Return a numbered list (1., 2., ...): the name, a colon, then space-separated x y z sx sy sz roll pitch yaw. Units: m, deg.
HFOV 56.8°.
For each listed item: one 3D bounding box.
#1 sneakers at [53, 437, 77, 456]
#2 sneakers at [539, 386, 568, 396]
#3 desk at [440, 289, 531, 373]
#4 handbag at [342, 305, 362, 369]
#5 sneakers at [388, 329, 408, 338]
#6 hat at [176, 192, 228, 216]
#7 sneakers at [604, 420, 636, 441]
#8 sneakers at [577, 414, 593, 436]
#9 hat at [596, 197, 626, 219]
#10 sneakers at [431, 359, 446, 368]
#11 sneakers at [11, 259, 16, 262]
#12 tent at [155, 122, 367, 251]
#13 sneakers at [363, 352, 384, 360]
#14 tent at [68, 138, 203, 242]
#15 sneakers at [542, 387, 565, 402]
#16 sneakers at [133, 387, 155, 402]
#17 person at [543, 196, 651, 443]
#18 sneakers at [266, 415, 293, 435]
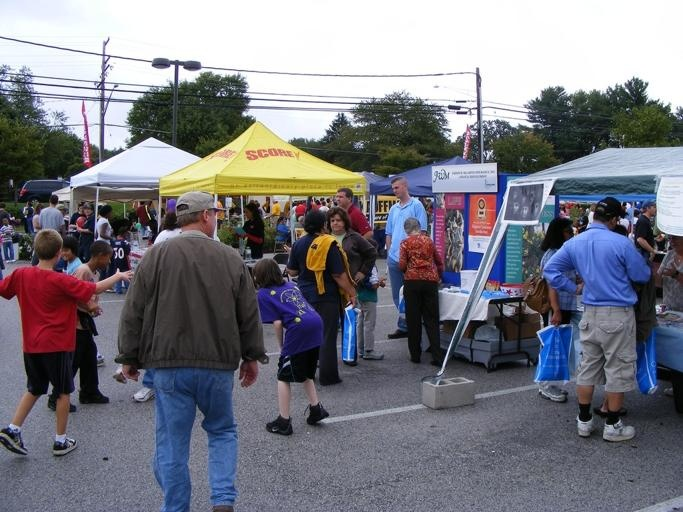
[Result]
1. sneakers: -2.508 1.742 5.830 0.093 0.127 0.246 3 6 21
2. sneakers: 2.331 1.492 7.026 0.301 0.154 0.141 -2 1 26
3. desk: 1.892 0.951 8.135 0.917 0.675 1.223 -5 8 -31
4. handbag: 0.120 1.029 7.950 0.315 0.952 0.441 -3 28 -4
5. sneakers: 0.850 1.196 9.666 0.324 0.150 0.112 2 -4 -22
6. hat: -1.068 -0.405 4.771 0.253 0.133 0.179 -7 9 -38
7. sneakers: 2.626 1.679 6.105 0.296 0.209 0.153 -5 9 -13
8. sneakers: 2.343 1.662 6.134 0.081 0.112 0.245 0 6 23
9. hat: 2.643 -0.477 6.229 0.176 0.157 0.248 10 17 38
10. sneakers: 1.232 1.354 8.038 0.095 0.125 0.273 -1 -1 -35
11. sneakers: -10.275 0.165 19.910 0.085 0.107 0.225 -2 -3 -44
12. tent: -1.314 -1.612 12.092 2.930 1.517 2.918 -7 10 -41
13. sneakers: 0.414 1.340 8.487 0.290 0.135 0.111 -1 0 -12
14. tent: -4.886 -2.083 15.544 2.904 1.369 2.951 5 12 39
15. sneakers: 2.319 1.519 7.020 0.126 0.128 0.247 -8 6 -34
16. sneakers: -2.194 1.559 7.052 0.106 0.111 0.244 -5 -7 21
17. person: 2.485 0.589 6.163 0.848 2.255 0.638 5 10 31
18. sneakers: -0.587 1.653 6.243 0.264 0.180 0.132 7 5 24
